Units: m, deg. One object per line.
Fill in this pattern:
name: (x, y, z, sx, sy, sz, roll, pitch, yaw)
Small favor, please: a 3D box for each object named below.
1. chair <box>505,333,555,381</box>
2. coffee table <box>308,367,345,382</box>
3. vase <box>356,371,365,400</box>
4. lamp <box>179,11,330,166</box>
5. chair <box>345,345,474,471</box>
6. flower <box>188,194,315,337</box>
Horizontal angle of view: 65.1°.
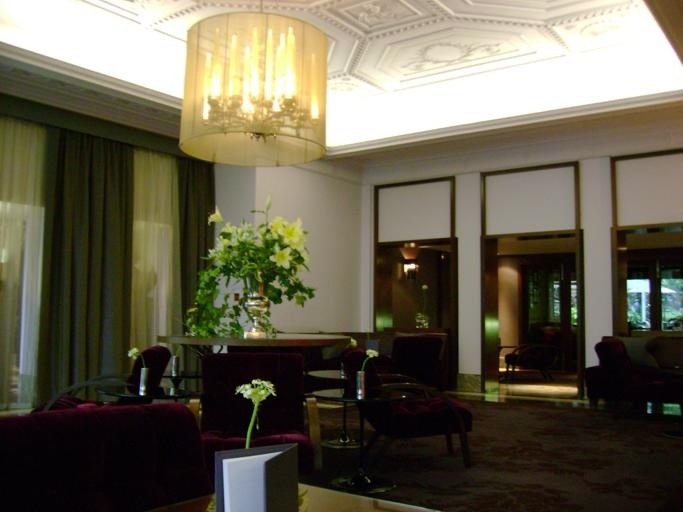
chair: (3.738, 2.101, 10.972, 1.141, 1.017, 0.933, 4, -11, -9)
coffee table: (-0.138, 1.024, 4.652, 0.282, 0.082, 0.514, 2, -5, -9)
vase: (0.137, 0.938, 3.938, 0.066, 0.176, 0.149, 2, -5, 0)
lamp: (-0.685, -1.320, 4.226, 1.077, 1.162, 0.599, 3, -6, -18)
chair: (0.561, 1.206, 4.313, 1.167, 1.081, 0.835, -1, -3, 5)
flower: (-0.650, 0.075, 4.005, 0.683, 0.880, 0.667, -2, 16, -6)
